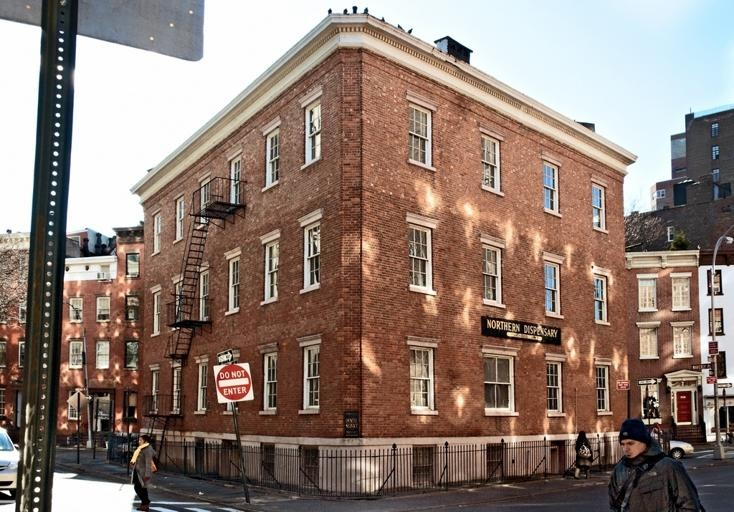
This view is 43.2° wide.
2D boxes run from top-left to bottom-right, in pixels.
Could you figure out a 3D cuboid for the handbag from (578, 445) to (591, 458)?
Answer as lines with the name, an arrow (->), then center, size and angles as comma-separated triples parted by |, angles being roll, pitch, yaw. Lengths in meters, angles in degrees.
handbag -> 9.365, 8.426, 40.091 | 0.493, 0.523, 0.310 | -2, -15, 5
